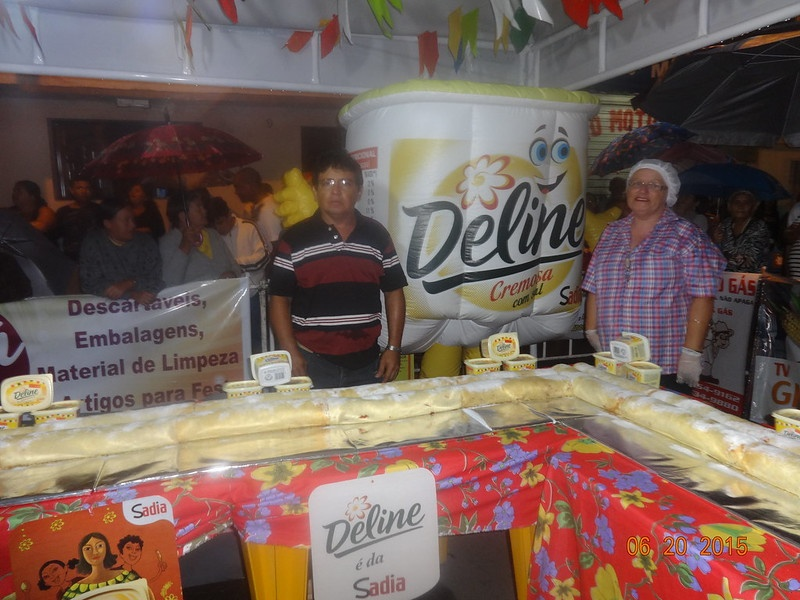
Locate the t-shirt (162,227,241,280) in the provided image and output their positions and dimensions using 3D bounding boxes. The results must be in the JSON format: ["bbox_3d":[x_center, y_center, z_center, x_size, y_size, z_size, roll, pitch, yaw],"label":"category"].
[{"bbox_3d":[-1.542,-0.341,4.193,0.256,0.450,0.424,20,25,37],"label":"t-shirt"}]

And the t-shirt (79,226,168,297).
[{"bbox_3d":[-1.884,-0.189,3.689,0.474,0.486,0.182,2,-11,-27],"label":"t-shirt"}]

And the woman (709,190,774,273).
[{"bbox_3d":[3.199,-0.640,5.146,0.530,0.715,0.529,-11,16,-7],"label":"woman"}]

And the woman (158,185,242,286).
[{"bbox_3d":[-1.461,-0.449,4.227,0.707,0.657,0.403,-4,10,24],"label":"woman"}]

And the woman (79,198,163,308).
[{"bbox_3d":[-1.808,-0.319,3.578,0.517,0.643,0.417,5,24,-18],"label":"woman"}]

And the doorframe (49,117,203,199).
[{"bbox_3d":[-3.950,-1.905,7.457,0.063,1.061,1.547,22,23,29],"label":"doorframe"}]

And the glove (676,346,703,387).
[{"bbox_3d":[1.618,0.375,3.019,0.151,0.202,0.128,3,7,11],"label":"glove"}]

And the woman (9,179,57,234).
[{"bbox_3d":[-3.751,-0.925,5.544,0.294,0.556,0.754,-9,16,-24],"label":"woman"}]

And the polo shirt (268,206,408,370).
[{"bbox_3d":[-0.304,-0.056,2.875,0.799,0.804,0.433,-7,24,-22],"label":"polo shirt"}]
